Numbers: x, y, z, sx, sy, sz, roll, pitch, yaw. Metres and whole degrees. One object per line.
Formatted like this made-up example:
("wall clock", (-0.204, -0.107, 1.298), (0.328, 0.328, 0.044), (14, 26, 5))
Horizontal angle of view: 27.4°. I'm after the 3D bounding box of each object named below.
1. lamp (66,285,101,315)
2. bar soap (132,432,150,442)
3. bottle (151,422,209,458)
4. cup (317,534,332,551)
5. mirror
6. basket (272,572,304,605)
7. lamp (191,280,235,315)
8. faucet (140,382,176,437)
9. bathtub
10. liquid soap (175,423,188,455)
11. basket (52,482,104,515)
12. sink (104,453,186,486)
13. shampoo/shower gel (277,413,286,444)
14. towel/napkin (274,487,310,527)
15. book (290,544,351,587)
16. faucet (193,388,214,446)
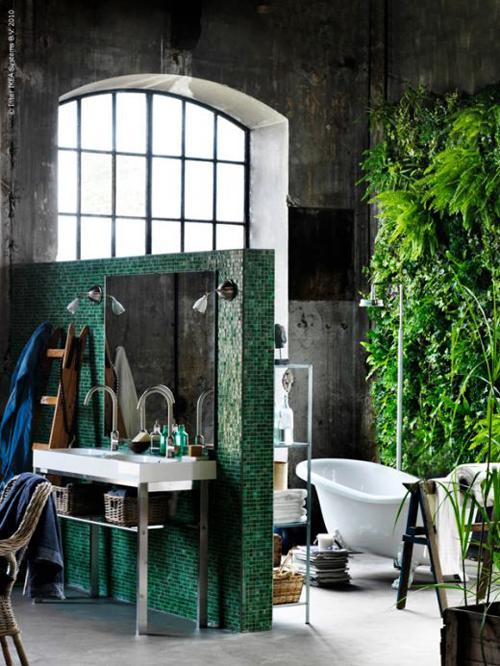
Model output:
("lamp", (-0.976, -0.183, 5.894), (0.174, 0.160, 0.434), (0, -1, -28))
("bar soap", (-0.546, 0.529, 5.228), (0.046, 0.073, 0.105), (-3, -2, 12))
("bottle", (-0.362, 0.542, 5.038), (0.119, 0.241, 0.454), (2, -1, -30))
("cup", (0.429, 1.201, 5.888), (0.072, 0.107, 0.076), (0, -1, 0))
("mirror", (-0.428, 0.142, 5.225), (0.036, 0.976, 0.710), (1, -1, -32))
("basket", (0.184, 1.266, 5.081), (0.108, 0.156, 0.174), (1, -7, -9))
("lamp", (-0.172, -0.174, 4.879), (0.087, 0.157, 0.279), (-6, -7, -28))
("faucet", (-0.476, 0.404, 5.203), (0.186, 0.373, 0.172), (0, -3, 9))
("bathtub", (0.673, 1.075, 6.560), (0.524, 0.566, 1.104), (4, -4, -21))
("liquid soap", (-0.329, 0.526, 5.017), (0.064, 0.136, 0.216), (0, -1, -2))
("basket", (-0.879, 0.873, 5.355), (0.147, 0.138, 0.278), (0, -11, -1))
("sink", (-0.506, 0.658, 4.881), (0.334, 0.137, 0.512), (1, -1, -38))
("shampoo/shower gel", (0.154, 0.464, 5.022), (0.027, 0.141, 0.059), (0, 0, -25))
("towel/napkin", (0.201, 0.878, 5.140), (0.139, 0.100, 0.169), (-3, 3, -14))
("book", (0.396, 1.331, 5.857), (0.289, 0.168, 0.271), (1, 0, -34))
("faucet", (-0.227, 0.409, 4.962), (0.050, 0.268, 0.123), (0, 0, -36))
